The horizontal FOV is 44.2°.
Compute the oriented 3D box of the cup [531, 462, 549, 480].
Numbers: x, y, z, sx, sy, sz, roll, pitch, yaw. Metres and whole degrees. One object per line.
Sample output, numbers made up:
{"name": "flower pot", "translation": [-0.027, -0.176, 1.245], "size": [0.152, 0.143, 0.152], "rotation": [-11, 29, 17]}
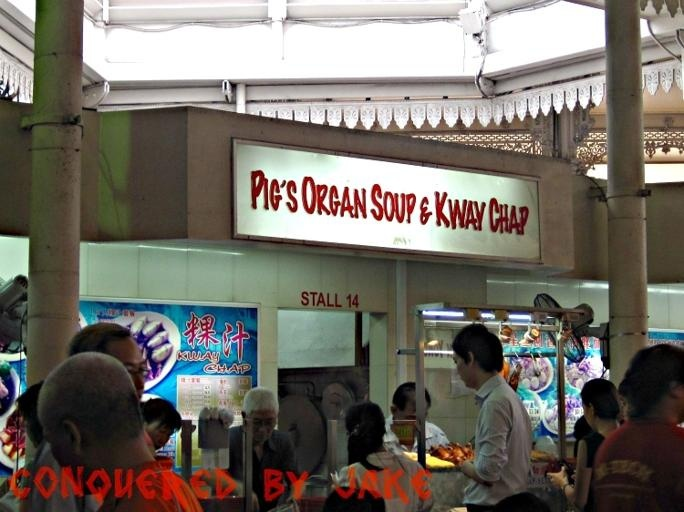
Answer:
{"name": "cup", "translation": [1.874, 2.027, 8.074], "size": [0.165, 0.180, 0.140], "rotation": [7, -10, -39]}

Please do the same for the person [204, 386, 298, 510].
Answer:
{"name": "person", "translation": [-0.622, 1.570, 6.905], "size": [0.515, 0.928, 1.044], "rotation": [0, -5, -3]}

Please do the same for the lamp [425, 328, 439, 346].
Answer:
{"name": "lamp", "translation": [0.854, 0.773, 8.070], "size": [0.079, 0.161, 0.143], "rotation": [-9, -10, 43]}
